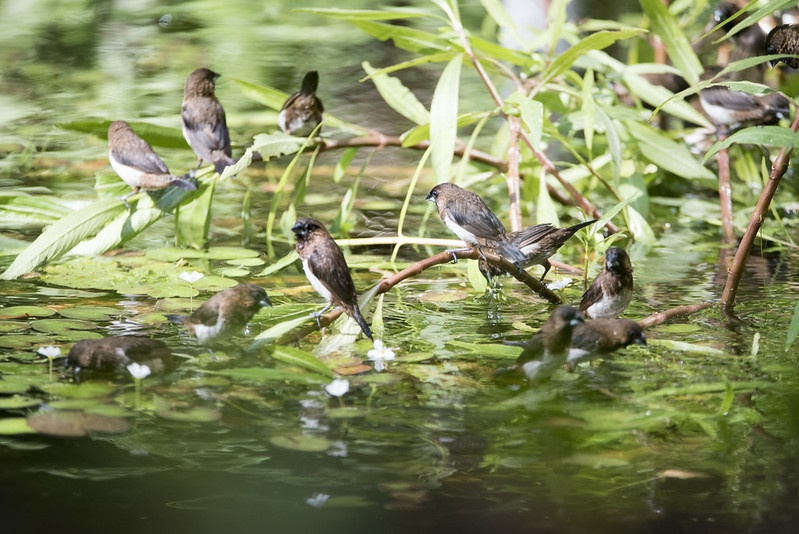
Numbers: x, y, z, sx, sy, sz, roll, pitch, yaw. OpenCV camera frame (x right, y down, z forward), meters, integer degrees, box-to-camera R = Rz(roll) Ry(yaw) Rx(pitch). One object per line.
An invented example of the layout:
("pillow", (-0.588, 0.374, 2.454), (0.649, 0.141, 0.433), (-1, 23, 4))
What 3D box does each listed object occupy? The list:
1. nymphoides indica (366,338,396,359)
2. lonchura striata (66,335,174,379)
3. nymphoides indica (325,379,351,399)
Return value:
("nymphoides indica", (-0.070, 0.318, 2.645), (0.106, 0.073, 0.091), (-2, 29, 0))
("lonchura striata", (-1.006, 0.321, 2.511), (0.318, 0.065, 0.169), (0, 0, -6))
("nymphoides indica", (-0.204, 0.411, 2.420), (0.096, 0.055, 0.075), (-14, 31, -22))
